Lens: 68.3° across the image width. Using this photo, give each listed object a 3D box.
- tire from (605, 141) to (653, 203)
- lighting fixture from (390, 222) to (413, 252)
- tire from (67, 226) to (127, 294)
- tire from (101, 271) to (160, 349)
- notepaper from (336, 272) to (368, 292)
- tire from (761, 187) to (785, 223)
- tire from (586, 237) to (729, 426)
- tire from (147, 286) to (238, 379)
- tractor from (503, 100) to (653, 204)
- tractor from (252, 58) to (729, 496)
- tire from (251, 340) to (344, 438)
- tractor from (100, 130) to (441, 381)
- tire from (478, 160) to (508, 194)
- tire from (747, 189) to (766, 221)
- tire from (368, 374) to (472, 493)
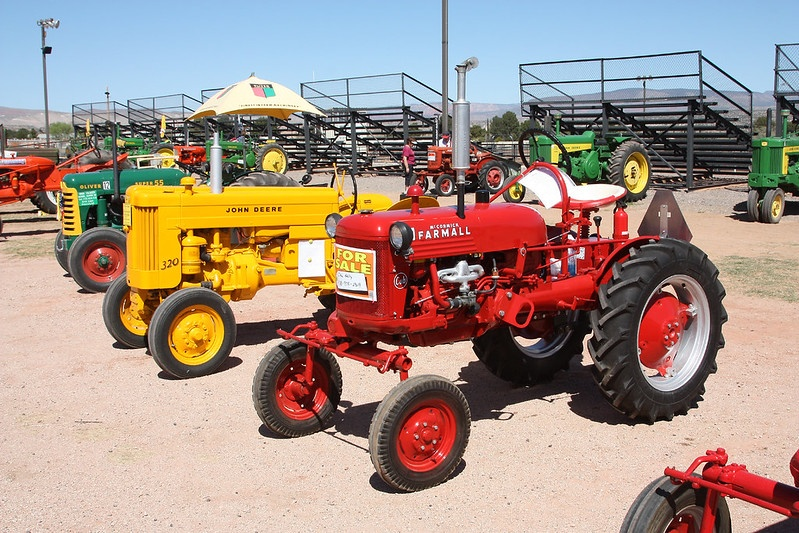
[{"bbox_3d":[6.799,-2.774,17.297,1.731,1.758,0.485,-16,16,-32],"label":"tire"},{"bbox_3d":[0.014,-0.211,4.336,0.180,0.238,0.131,0,14,4],"label":"lighting fixture"},{"bbox_3d":[-4.797,-0.083,9.373,1.079,1.147,0.383,-1,5,-29],"label":"tire"},{"bbox_3d":[-3.100,0.524,6.840,0.769,0.795,0.252,14,-4,-19],"label":"tire"},{"bbox_3d":[-0.365,0.114,4.620,0.300,0.162,0.040,12,19,41],"label":"notepaper"},{"bbox_3d":[9.222,-1.527,14.534,0.773,0.849,0.340,-12,15,-42],"label":"tire"},{"bbox_3d":[2.356,0.626,5.376,1.538,1.556,0.491,-32,19,-26],"label":"tire"},{"bbox_3d":[-2.214,0.726,6.269,0.804,0.920,0.275,11,-4,-27],"label":"tire"},{"bbox_3d":[5.253,-3.376,17.607,3.988,2.582,2.882,-8,22,-13],"label":"tractor"},{"bbox_3d":[0.791,0.025,6.250,4.744,3.916,2.593,-3,4,-33],"label":"tractor"},{"bbox_3d":[-0.854,1.069,5.028,0.770,0.819,0.234,6,4,-34],"label":"tire"},{"bbox_3d":[-1.595,-0.202,7.724,3.896,2.081,2.052,-8,23,-43],"label":"tractor"},{"bbox_3d":[2.945,-2.781,18.399,1.047,1.066,0.354,6,3,-32],"label":"tire"},{"bbox_3d":[8.876,-1.525,14.557,0.444,0.834,0.763,4,-1,28],"label":"tire"},{"bbox_3d":[0.164,1.270,4.345,0.685,0.726,0.200,17,-1,-38],"label":"tire"}]
